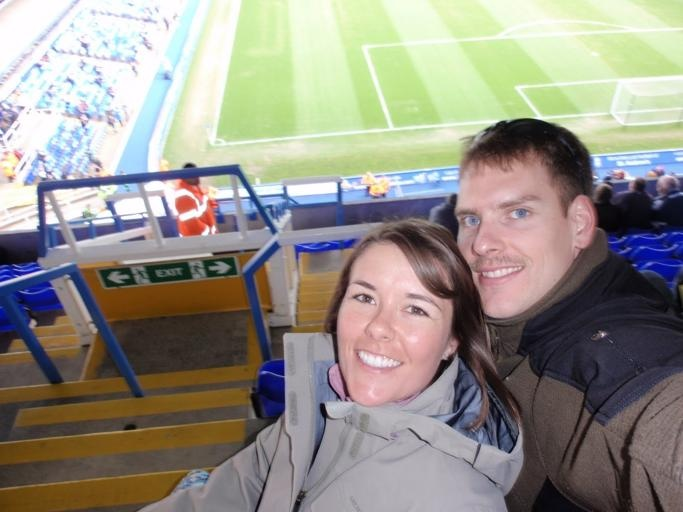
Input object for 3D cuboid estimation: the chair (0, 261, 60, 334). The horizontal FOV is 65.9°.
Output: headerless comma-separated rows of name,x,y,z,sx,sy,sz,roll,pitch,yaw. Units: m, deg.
chair,-3.490,0.511,5.947,0.782,0.682,0.675,2,46,-19
